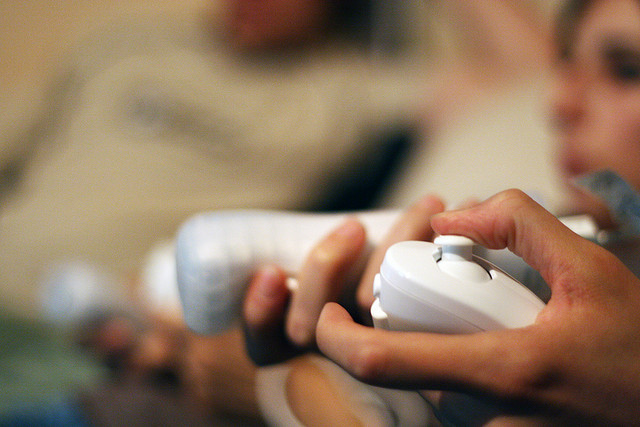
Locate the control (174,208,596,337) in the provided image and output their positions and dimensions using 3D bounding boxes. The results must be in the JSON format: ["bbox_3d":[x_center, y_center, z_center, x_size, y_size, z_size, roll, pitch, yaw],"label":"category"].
[{"bbox_3d":[0.072,0.031,0.694,0.430,0.135,0.145,-1,105,-12],"label":"control"}]

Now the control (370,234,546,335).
[{"bbox_3d":[0.107,0.050,0.550,0.124,0.079,0.070,3,93,4],"label":"control"}]

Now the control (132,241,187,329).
[{"bbox_3d":[-0.139,0.062,0.581,0.067,0.031,0.067,1,93,4],"label":"control"}]

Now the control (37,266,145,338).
[{"bbox_3d":[-0.195,0.074,0.611,0.100,0.047,0.048,26,97,0],"label":"control"}]
